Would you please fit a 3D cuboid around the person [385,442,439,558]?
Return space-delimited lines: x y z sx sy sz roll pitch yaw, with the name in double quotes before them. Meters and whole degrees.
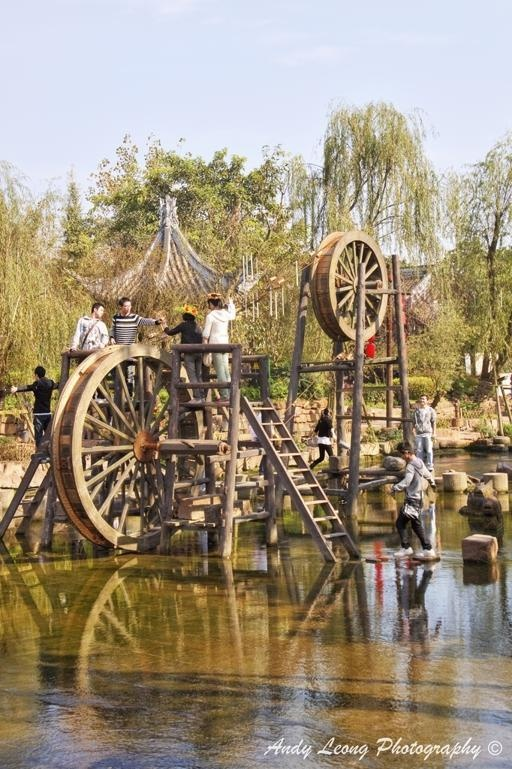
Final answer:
"person" 1.625 1.194 10.051 0.415 1.159 0.640 -1 -1 9

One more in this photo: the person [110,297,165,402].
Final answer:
"person" -1.555 -0.429 12.126 0.611 1.310 0.415 5 22 2

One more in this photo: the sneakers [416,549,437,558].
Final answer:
"sneakers" 1.734 1.724 9.875 0.181 0.100 0.097 4 0 39

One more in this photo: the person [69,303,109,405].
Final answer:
"person" -2.068 -0.404 11.922 0.394 1.274 0.301 3 -13 -19

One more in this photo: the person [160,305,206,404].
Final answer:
"person" -0.859 -0.428 11.736 0.438 1.233 1.635 -1 -2 -3

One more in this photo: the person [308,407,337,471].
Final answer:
"person" 1.200 0.959 17.272 0.574 1.175 0.383 -7 20 -12

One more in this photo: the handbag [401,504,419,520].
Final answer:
"handbag" 1.599 1.301 9.958 0.107 0.183 0.137 5 -7 -21

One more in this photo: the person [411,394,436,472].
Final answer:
"person" 2.744 0.796 15.721 0.311 1.340 0.348 -4 17 2
